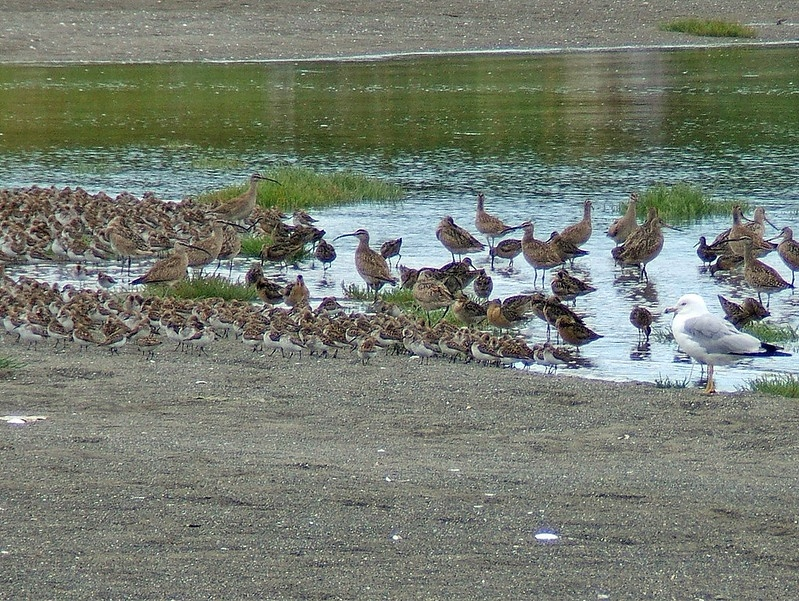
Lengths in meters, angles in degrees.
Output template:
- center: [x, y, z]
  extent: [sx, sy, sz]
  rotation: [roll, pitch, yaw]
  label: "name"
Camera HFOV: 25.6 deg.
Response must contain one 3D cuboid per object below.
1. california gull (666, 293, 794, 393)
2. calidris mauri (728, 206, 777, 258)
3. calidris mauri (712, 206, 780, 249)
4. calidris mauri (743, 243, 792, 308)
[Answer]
- center: [5.817, 0.768, 32.613]
  extent: [0.913, 1.560, 1.774]
  rotation: [-17, 22, -34]
  label: "california gull"
- center: [8.102, -1.496, 40.652]
  extent: [1.166, 1.176, 1.093]
  rotation: [-5, 22, -13]
  label: "calidris mauri"
- center: [8.045, -1.703, 41.425]
  extent: [1.703, 1.046, 1.514]
  rotation: [1, 19, 5]
  label: "calidris mauri"
- center: [8.022, -0.620, 38.116]
  extent: [1.053, 1.339, 1.041]
  rotation: [-10, 18, -28]
  label: "calidris mauri"
